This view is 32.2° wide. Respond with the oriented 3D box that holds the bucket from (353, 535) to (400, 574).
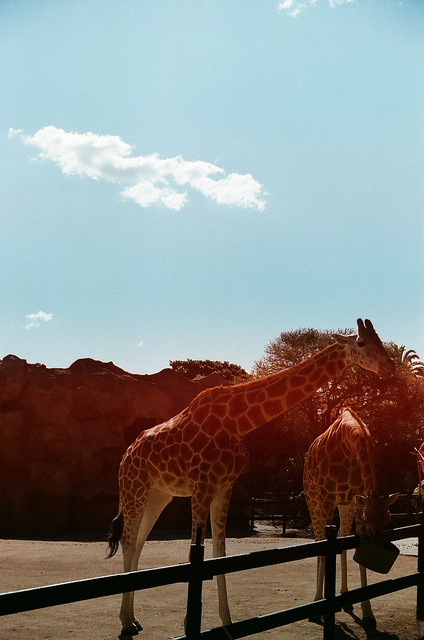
[{"bbox_3d":[1.264,1.830,5.709,0.344,0.218,0.311,29,-1,-11],"label":"bucket"}]
